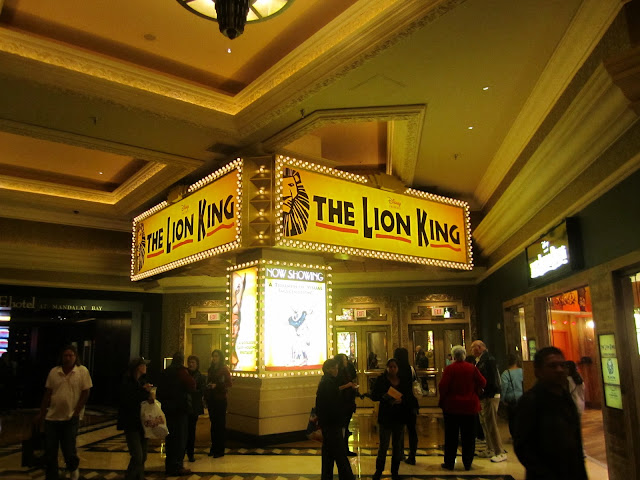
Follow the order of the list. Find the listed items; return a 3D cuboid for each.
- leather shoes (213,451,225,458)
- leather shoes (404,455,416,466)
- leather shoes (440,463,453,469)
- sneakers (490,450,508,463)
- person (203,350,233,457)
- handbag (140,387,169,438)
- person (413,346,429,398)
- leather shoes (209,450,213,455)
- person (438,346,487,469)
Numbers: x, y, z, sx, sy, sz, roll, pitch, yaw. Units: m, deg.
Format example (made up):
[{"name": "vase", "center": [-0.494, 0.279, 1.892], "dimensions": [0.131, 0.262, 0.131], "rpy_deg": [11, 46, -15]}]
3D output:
[{"name": "leather shoes", "center": [-1.582, 3.423, 7.981], "dimensions": [0.117, 0.067, 0.204], "rpy_deg": [-13, -20, 40]}, {"name": "leather shoes", "center": [1.340, 3.279, 7.489], "dimensions": [0.089, 0.151, 0.204], "rpy_deg": [3, -4, -20]}, {"name": "leather shoes", "center": [1.811, 3.239, 7.167], "dimensions": [0.166, 0.080, 0.158], "rpy_deg": [-6, -16, 22]}, {"name": "sneakers", "center": [2.694, 3.297, 7.577], "dimensions": [0.341, 0.147, 0.115], "rpy_deg": [16, -24, -35]}, {"name": "person", "center": [-1.671, 2.640, 8.142], "dimensions": [0.378, 1.653, 0.410], "rpy_deg": [3, -15, -12]}, {"name": "handbag", "center": [-2.100, 2.224, 6.353], "dimensions": [0.274, 0.621, 0.241], "rpy_deg": [-10, 4, -11]}, {"name": "person", "center": [2.810, 3.443, 13.676], "dimensions": [0.351, 1.535, 0.439], "rpy_deg": [-12, -23, 20]}, {"name": "leather shoes", "center": [-1.741, 3.400, 8.004], "dimensions": [0.032, 0.086, 0.131], "rpy_deg": [9, -17, -31]}, {"name": "person", "center": [2.047, 2.421, 7.331], "dimensions": [0.601, 1.631, 0.497], "rpy_deg": [1, -3, 9]}]
